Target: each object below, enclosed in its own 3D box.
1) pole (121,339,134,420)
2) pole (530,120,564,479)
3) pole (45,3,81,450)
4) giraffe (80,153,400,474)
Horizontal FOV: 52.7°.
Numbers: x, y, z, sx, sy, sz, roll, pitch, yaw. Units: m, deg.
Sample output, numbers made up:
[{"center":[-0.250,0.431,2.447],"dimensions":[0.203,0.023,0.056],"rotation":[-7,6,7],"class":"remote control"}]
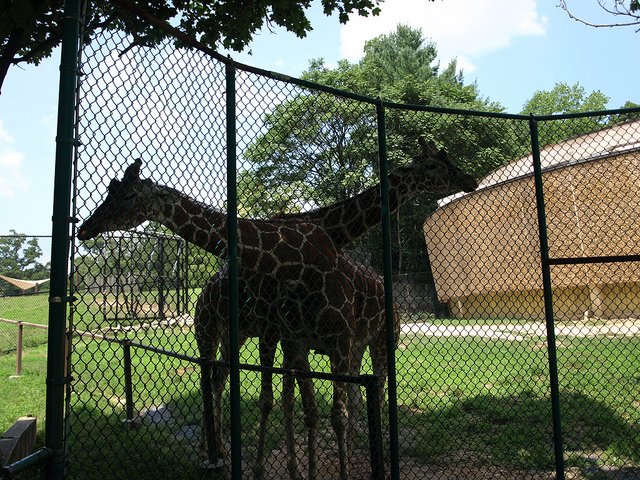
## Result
[{"center":[-2.749,1.975,9.161],"dimensions":[0.185,1.147,0.163],"rotation":[-29,-37,22],"class":"pole"},{"center":[2.725,0.609,7.774],"dimensions":[0.118,4.265,0.648],"rotation":[-5,-9,19],"class":"pole"},{"center":[-2.387,-0.171,5.987],"dimensions":[0.184,4.123,0.629],"rotation":[2,-10,-23],"class":"pole"},{"center":[-0.495,0.962,7.327],"dimensions":[3.431,3.396,1.306],"rotation":[2,-10,-21],"class":"giraffe"}]
